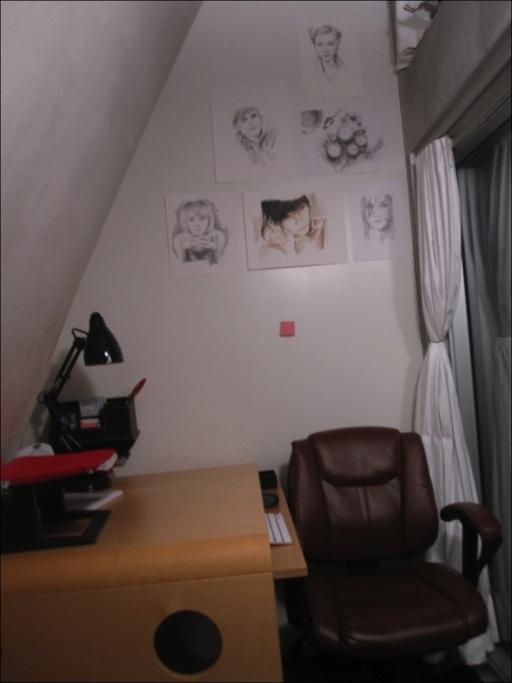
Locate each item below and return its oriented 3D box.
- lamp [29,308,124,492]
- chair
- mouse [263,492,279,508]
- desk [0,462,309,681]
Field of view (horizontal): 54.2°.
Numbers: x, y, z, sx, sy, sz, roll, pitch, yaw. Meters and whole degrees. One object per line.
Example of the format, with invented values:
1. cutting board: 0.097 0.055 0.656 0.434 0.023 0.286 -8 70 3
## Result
1. lamp: -0.648 0.181 1.804 0.244 0.541 0.115 -10 31 -31
2. chair: 0.393 0.618 1.566 0.610 0.603 0.597 -3 0 2
3. mouse: 0.049 0.544 1.725 0.056 0.029 0.094 -4 12 3
4. desk: -0.253 0.553 1.186 0.478 0.305 0.522 -3 1 0
